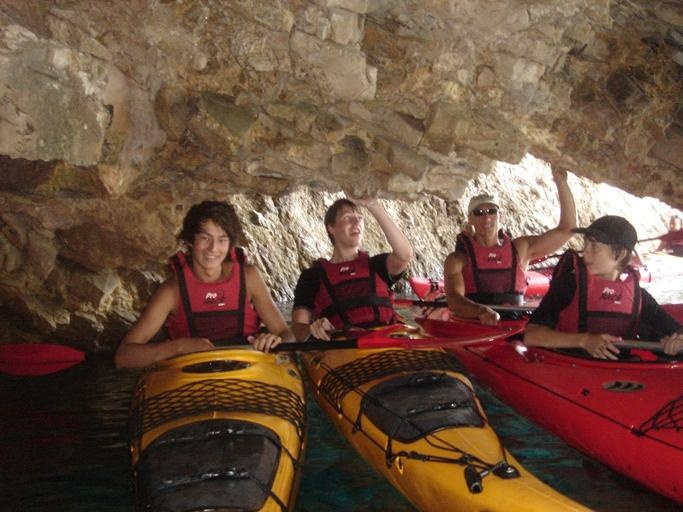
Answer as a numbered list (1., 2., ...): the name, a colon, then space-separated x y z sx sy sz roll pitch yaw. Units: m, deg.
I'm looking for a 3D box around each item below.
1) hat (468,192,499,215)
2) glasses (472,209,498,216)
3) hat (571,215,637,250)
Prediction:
1. hat: 1.389 -0.500 5.220 0.328 0.142 0.399 -13 -7 4
2. glasses: 1.397 -0.422 5.059 0.239 0.084 0.067 -2 12 -6
3. hat: 1.787 -0.153 3.500 0.339 0.231 0.238 3 12 20
